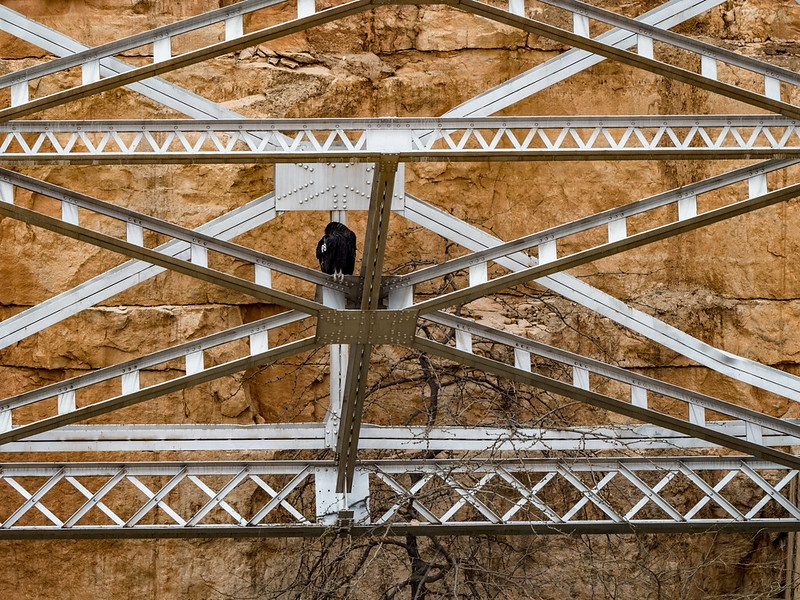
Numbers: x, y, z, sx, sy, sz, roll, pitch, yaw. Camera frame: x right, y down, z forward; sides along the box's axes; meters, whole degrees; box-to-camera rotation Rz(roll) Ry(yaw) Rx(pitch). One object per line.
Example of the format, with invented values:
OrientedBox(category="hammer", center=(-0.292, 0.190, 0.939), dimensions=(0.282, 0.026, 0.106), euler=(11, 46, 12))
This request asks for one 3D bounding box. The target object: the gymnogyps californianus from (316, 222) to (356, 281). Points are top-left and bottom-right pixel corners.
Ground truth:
OrientedBox(category="gymnogyps californianus", center=(-0.750, -0.630, 31.029), dimensions=(0.516, 0.661, 0.578), euler=(-2, 4, 26))
